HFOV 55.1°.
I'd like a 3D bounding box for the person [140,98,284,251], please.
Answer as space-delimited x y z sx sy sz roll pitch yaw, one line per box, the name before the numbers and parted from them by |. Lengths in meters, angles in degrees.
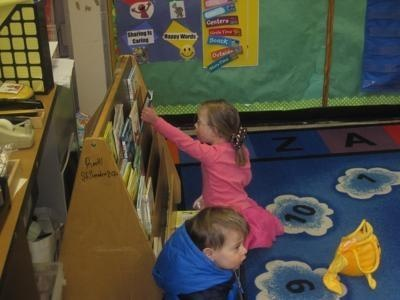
person | 0.120 0.166 2.674 0.960 0.978 0.515 2 20 2
